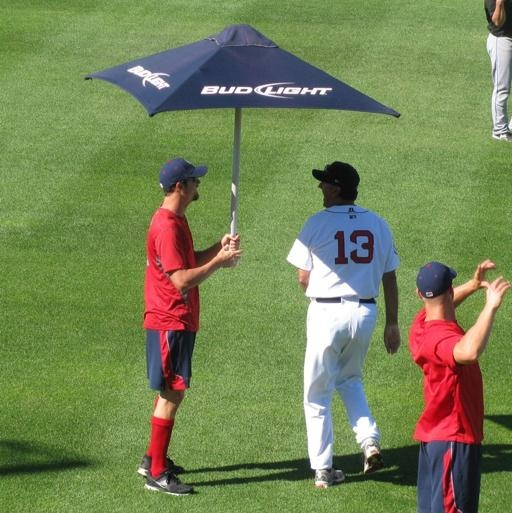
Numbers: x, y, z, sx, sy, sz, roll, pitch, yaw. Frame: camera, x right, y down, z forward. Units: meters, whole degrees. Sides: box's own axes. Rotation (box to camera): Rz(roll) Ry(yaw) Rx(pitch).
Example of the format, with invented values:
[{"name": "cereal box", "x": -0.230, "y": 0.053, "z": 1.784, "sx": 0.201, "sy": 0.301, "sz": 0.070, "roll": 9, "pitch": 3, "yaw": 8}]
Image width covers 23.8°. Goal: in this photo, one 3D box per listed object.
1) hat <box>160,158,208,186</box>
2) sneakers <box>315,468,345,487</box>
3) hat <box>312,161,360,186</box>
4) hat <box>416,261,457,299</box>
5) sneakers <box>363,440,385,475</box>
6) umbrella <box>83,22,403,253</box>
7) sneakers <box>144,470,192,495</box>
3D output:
[{"name": "hat", "x": -0.627, "y": -0.671, "z": 10.224, "sx": 0.321, "sy": 0.199, "sz": 0.230, "roll": -14, "pitch": 28, "yaw": -5}, {"name": "sneakers", "x": 0.622, "y": 1.908, "z": 10.273, "sx": 0.112, "sy": 0.156, "sz": 0.291, "roll": 9, "pitch": 14, "yaw": 42}, {"name": "hat", "x": 0.698, "y": -0.670, "z": 10.292, "sx": 0.301, "sy": 0.200, "sz": 0.220, "roll": 13, "pitch": 21, "yaw": 11}, {"name": "hat", "x": 1.391, "y": 0.172, "z": 9.400, "sx": 0.257, "sy": 0.269, "sz": 0.407, "roll": -8, "pitch": 14, "yaw": 27}, {"name": "sneakers", "x": 0.996, "y": 1.761, "z": 10.209, "sx": 0.127, "sy": 0.352, "sz": 0.161, "roll": 0, "pitch": 42, "yaw": 2}, {"name": "umbrella", "x": -0.152, "y": -0.896, "z": 10.696, "sx": 1.744, "sy": 1.547, "sz": 1.929, "roll": -1, "pitch": 14, "yaw": -5}, {"name": "sneakers", "x": -0.734, "y": 1.951, "z": 10.160, "sx": 0.375, "sy": 0.199, "sz": 0.173, "roll": 8, "pitch": 3, "yaw": 5}]
